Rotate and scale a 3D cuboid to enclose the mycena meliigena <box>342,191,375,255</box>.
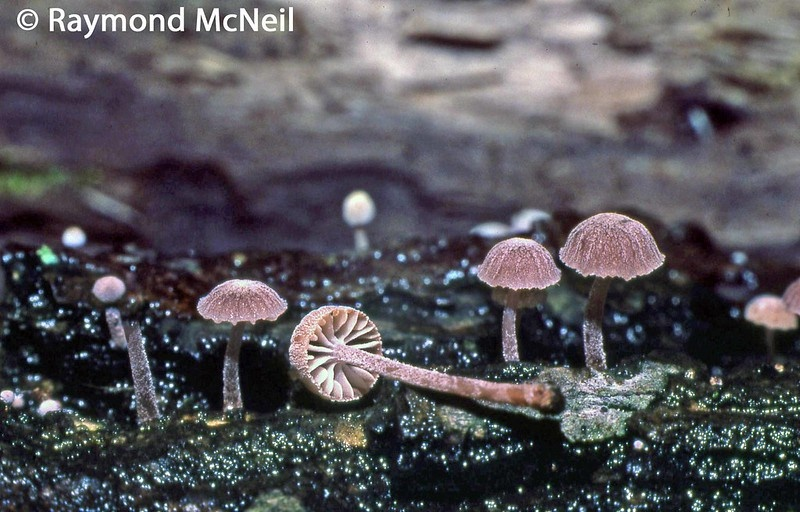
[{"bbox_3d":[-0.254,-0.219,7.206,0.224,0.398,0.132,-3,19,-2],"label":"mycena meliigena"}]

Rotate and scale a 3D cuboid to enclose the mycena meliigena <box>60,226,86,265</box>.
[{"bbox_3d":[-2.010,-0.112,6.879,0.123,0.129,0.141,1,18,10],"label":"mycena meliigena"}]
